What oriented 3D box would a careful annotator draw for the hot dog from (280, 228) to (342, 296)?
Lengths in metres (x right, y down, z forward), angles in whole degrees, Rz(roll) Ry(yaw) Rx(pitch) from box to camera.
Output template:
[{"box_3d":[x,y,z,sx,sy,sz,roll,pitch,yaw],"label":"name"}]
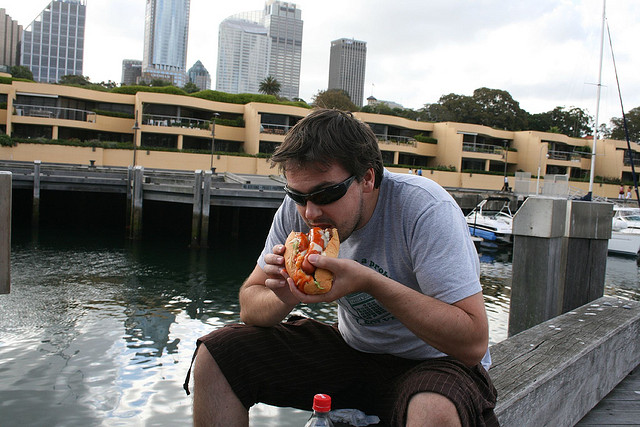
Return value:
[{"box_3d":[-0.056,0.352,3.921,0.404,0.251,0.719,2,28,-3],"label":"hot dog"}]
